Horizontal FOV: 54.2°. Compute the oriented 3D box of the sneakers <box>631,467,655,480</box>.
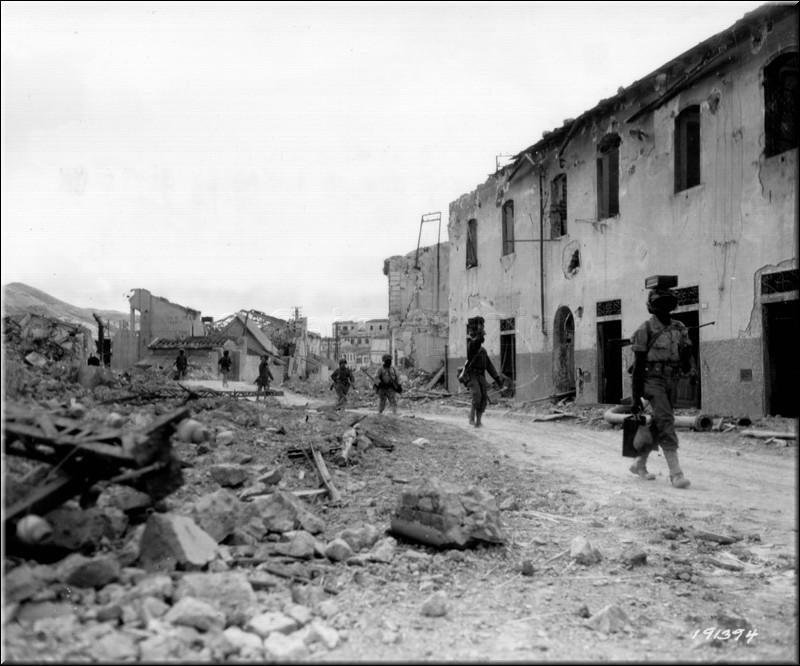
[{"bbox_3d":[2.722,1.570,8.760,0.101,0.153,0.312,0,-5,-14],"label":"sneakers"}]

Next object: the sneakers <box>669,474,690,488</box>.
[{"bbox_3d":[2.938,1.557,8.192,0.192,0.138,0.224,4,9,23],"label":"sneakers"}]

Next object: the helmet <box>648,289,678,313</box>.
[{"bbox_3d":[2.927,-0.327,8.727,0.224,0.272,0.295,1,-31,-1],"label":"helmet"}]

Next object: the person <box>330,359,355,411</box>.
[{"bbox_3d":[-1.234,1.181,16.889,0.464,1.260,0.282,-6,-38,-6],"label":"person"}]

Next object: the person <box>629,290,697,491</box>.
[{"bbox_3d":[2.897,0.584,8.634,0.661,2.205,0.971,3,8,18],"label":"person"}]
